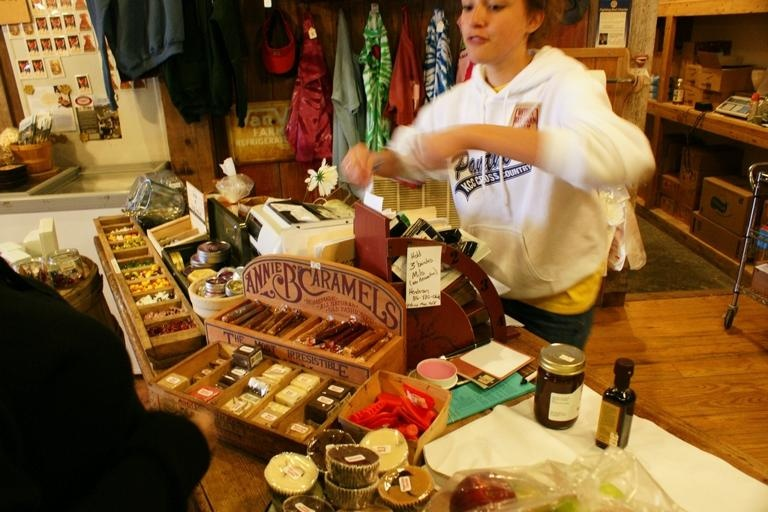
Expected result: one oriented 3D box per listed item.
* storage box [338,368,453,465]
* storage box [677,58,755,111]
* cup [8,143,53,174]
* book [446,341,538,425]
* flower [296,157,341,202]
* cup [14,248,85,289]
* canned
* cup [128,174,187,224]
[{"bbox_3d":[0.025,0.418,1.508,0.229,0.124,0.281,15,24,27],"label":"storage box"},{"bbox_3d":[3.437,-1.769,5.372,0.499,0.314,0.512,-6,15,-18],"label":"storage box"},{"bbox_3d":[-2.772,-0.773,4.062,0.237,0.185,0.233,-1,12,0],"label":"cup"},{"bbox_3d":[0.345,0.438,1.689,0.383,0.027,0.132,-15,29,-21],"label":"book"},{"bbox_3d":[-0.385,-0.447,3.124,0.163,0.273,0.343,-9,27,-11],"label":"flower"},{"bbox_3d":[-1.475,0.054,2.272,0.207,0.089,0.154,11,22,37],"label":"cup"},{"bbox_3d":[0.542,0.379,1.562,0.170,0.233,0.165,-1,27,7],"label":"canned"},{"bbox_3d":[-1.377,-0.341,3.115,0.305,0.213,0.303,-5,12,1],"label":"cup"}]
